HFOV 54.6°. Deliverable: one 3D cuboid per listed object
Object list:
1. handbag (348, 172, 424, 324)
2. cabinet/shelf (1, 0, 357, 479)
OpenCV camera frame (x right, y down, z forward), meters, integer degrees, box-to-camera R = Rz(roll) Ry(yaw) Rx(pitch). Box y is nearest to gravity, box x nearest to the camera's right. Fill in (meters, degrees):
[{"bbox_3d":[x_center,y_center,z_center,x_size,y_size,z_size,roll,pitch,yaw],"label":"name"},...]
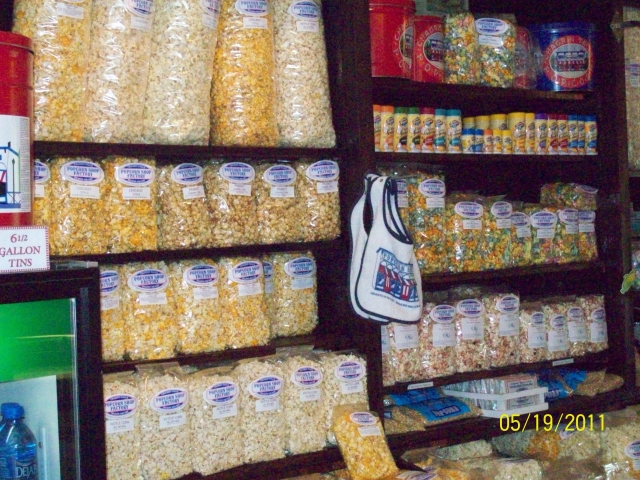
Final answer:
[{"bbox_3d":[0.259,0.035,2.525,0.340,0.587,0.174,0,-5,-18],"label":"handbag"},{"bbox_3d":[-0.462,-0.246,2.545,1.295,1.400,0.569,-10,24,-24],"label":"cabinet/shelf"}]
